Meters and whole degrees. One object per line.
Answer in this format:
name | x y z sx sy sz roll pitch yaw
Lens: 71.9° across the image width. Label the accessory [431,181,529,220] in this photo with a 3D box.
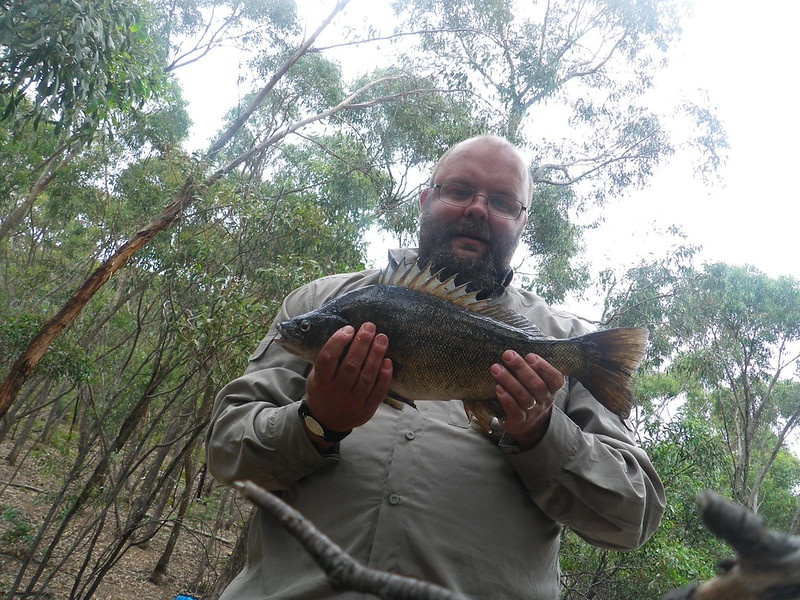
accessory | 0.485 -0.641 3.409 0.309 0.093 0.338 19 -15 -2
